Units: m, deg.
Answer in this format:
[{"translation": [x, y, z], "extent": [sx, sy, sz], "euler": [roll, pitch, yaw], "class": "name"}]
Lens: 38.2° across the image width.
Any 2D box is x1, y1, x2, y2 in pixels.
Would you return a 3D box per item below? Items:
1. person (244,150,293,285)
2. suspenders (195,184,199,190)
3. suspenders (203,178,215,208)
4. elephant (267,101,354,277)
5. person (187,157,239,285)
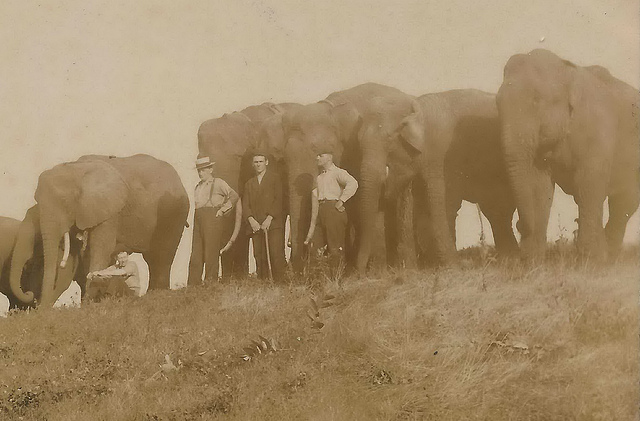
[{"translation": [-0.721, 0.151, 12.875], "extent": [0.649, 1.799, 0.474], "euler": [-4, -11, 8], "class": "person"}, {"translation": [-1.808, -0.346, 13.584], "extent": [0.066, 0.072, 0.020], "euler": [-10, -13, 33], "class": "suspenders"}, {"translation": [-1.603, -0.247, 13.428], "extent": [0.152, 0.422, 0.064], "euler": [-1, -11, -8], "class": "suspenders"}, {"translation": [-0.087, -0.228, 12.837], "extent": [0.965, 2.420, 1.641], "euler": [18, -25, -35], "class": "elephant"}, {"translation": [-1.576, 0.120, 13.539], "extent": [0.528, 1.971, 0.838], "euler": [3, -12, -27], "class": "person"}]
